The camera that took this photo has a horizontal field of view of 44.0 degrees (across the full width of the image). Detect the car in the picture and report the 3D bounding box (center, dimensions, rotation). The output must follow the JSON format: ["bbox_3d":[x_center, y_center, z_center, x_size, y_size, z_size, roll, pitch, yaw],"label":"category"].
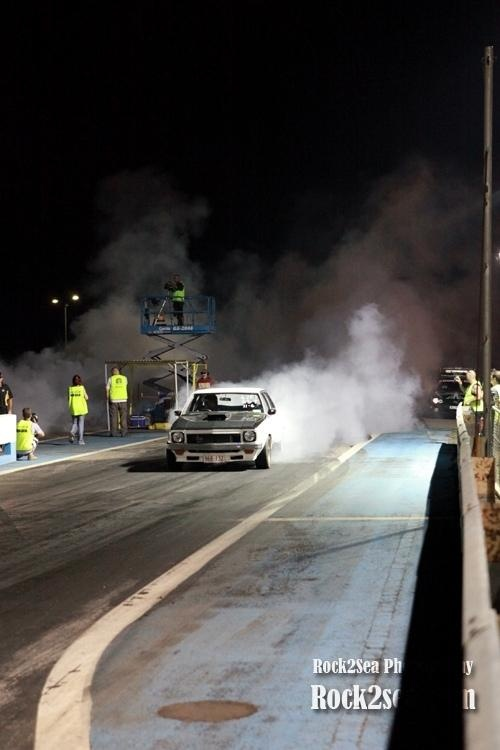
[{"bbox_3d":[-0.515,1.022,11.975,1.904,1.567,2.035,-2,-2,6],"label":"car"}]

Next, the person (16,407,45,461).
[{"bbox_3d":[-5.101,1.364,14.250,0.674,1.201,0.689,7,12,10],"label":"person"}]

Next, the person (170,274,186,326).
[{"bbox_3d":[-3.096,-3.038,26.127,0.562,2.054,1.316,-2,-2,-6],"label":"person"}]

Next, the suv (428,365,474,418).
[{"bbox_3d":[9.019,0.719,27.009,2.024,2.395,4.649,-1,-4,11],"label":"suv"}]

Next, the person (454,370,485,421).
[{"bbox_3d":[4.994,0.576,13.932,0.460,1.372,0.647,-15,21,0],"label":"person"}]

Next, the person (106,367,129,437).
[{"bbox_3d":[-4.324,0.858,19.905,0.583,2.236,1.492,-1,-2,-13],"label":"person"}]

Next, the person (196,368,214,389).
[{"bbox_3d":[-1.743,0.144,23.015,0.815,1.051,0.653,1,-8,2],"label":"person"}]
